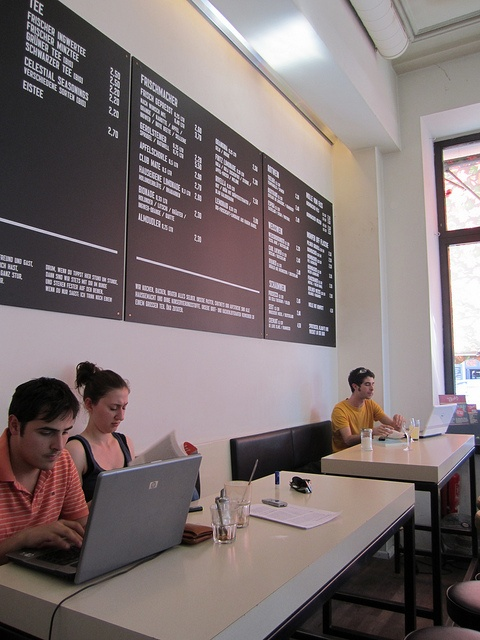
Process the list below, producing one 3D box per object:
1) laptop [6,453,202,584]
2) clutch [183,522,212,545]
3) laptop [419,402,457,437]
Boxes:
[{"bbox_3d":[-0.258,0.303,0.929,0.213,0.214,0.260,-3,-11,28],"label":"laptop"},{"bbox_3d":[-0.095,0.474,1.070,0.037,0.013,0.037,0,-3,42],"label":"clutch"},{"bbox_3d":[1.275,0.644,3.075,0.262,0.206,0.190,7,1,-41],"label":"laptop"}]
